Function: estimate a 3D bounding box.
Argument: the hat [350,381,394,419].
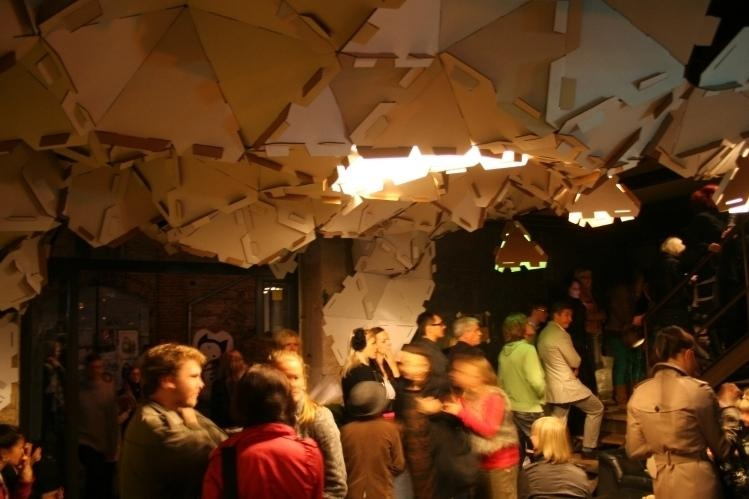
[{"bbox_3d":[-0.049,1.043,4.378,0.280,0.269,0.184,-1,-22,-4],"label":"hat"}]
